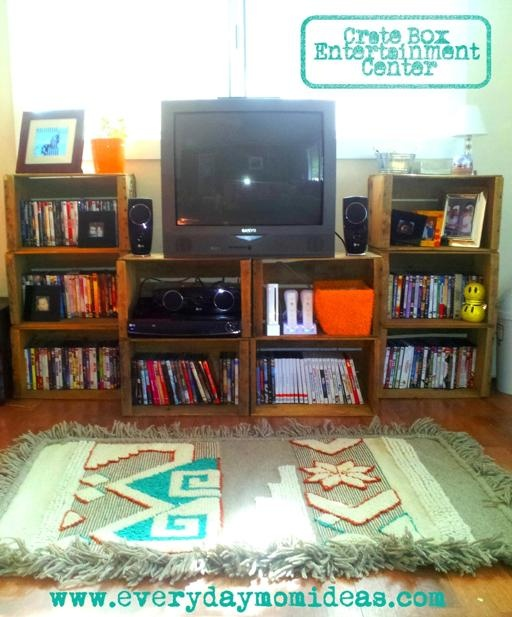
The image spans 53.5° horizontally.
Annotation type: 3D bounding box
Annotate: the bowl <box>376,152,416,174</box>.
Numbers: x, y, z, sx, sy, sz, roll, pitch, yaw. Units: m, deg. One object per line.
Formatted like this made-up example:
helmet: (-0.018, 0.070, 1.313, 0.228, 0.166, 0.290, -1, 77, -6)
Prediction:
bowl: (0.636, -0.649, 2.328, 0.136, 0.146, 0.059, 0, -77, -2)

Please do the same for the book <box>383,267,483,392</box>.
book: (0.816, 0.101, 2.280, 0.446, 0.196, 0.545, -2, -81, -2)

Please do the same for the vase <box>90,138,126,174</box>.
vase: (-0.648, -0.669, 2.232, 0.164, 0.166, 0.149, 1, -74, 1)

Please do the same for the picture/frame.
picture/frame: (-0.911, -0.742, 2.254, 0.403, 0.358, 0.025, 0, -15, 2)

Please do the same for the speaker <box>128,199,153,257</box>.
speaker: (-0.485, -0.345, 2.132, 0.099, 0.183, 0.197, -6, -38, -18)
